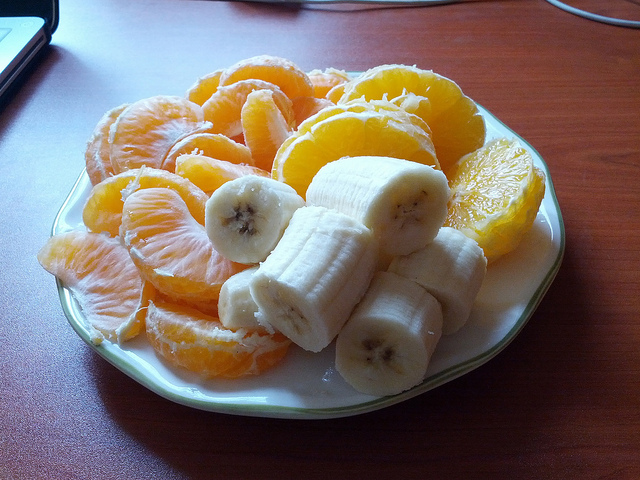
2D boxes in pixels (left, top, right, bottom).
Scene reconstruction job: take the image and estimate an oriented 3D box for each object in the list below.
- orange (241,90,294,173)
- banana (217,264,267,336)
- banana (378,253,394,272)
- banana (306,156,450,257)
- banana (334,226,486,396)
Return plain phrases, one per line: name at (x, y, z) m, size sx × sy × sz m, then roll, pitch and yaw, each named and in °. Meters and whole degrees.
orange at (-0.125, -0.246, 1.536) m, size 0.114 × 0.185 × 0.044 m, roll -13°, pitch 26°, yaw -6°
banana at (-0.148, 0.122, 1.280) m, size 0.085 × 0.074 × 0.080 m, roll -3°, pitch 19°, yaw -28°
banana at (0.123, 0.043, 1.273) m, size 0.032 × 0.031 × 0.008 m, roll -4°, pitch 5°, yaw 18°
banana at (0.130, -0.023, 1.305) m, size 0.182 × 0.152 × 0.245 m, roll -39°, pitch 35°, yaw -18°
banana at (0.175, 0.149, 1.336) m, size 0.202 × 0.146 × 0.375 m, roll -15°, pitch 13°, yaw 28°
